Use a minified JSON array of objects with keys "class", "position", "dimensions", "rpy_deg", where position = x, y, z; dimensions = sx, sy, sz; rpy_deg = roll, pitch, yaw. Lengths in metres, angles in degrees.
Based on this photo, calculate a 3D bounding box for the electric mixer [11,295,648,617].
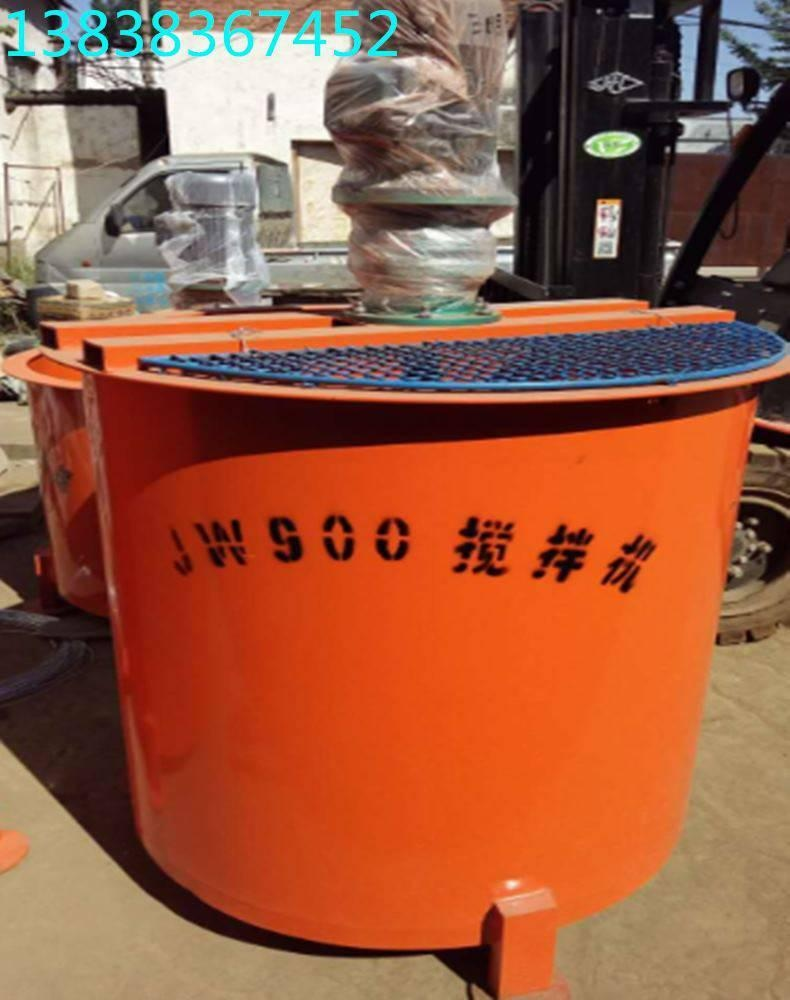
[{"class":"electric mixer","position":[-0.406,-0.049,2.952],"dimensions":[1.637,0.530,1.417],"rpy_deg":[-1,9,-8]}]

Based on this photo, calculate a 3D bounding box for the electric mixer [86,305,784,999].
[{"class":"electric mixer","position":[0.018,0.318,1.663],"dimensions":[1.083,1.129,0.515],"rpy_deg":[2,28,10]}]

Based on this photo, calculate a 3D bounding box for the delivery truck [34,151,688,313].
[{"class":"delivery truck","position":[-0.469,-1.986,7.378],"dimensions":[4.814,1.514,1.569],"rpy_deg":[14,24,42]}]
